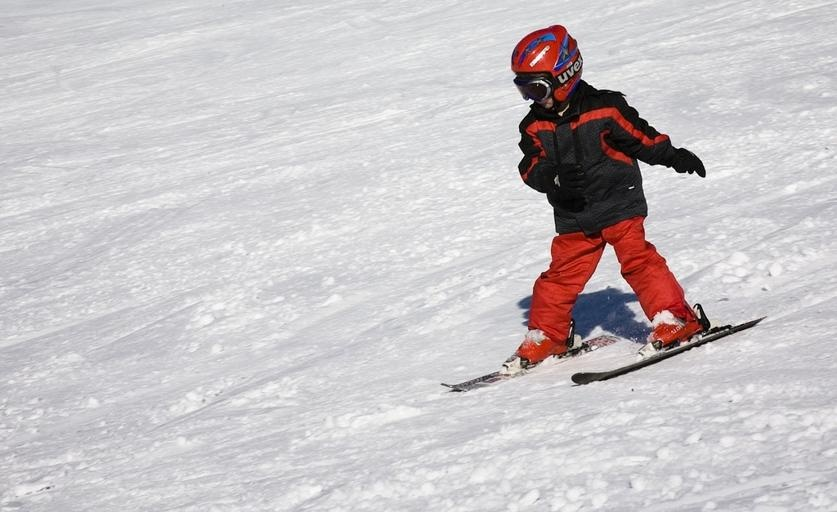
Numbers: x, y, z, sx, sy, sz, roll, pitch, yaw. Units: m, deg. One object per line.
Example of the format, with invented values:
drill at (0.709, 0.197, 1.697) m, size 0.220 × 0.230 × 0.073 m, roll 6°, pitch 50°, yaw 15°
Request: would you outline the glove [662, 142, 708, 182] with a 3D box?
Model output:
glove at (2.546, -0.913, 8.929) m, size 0.289 × 0.365 × 0.416 m, roll -20°, pitch 19°, yaw 16°
